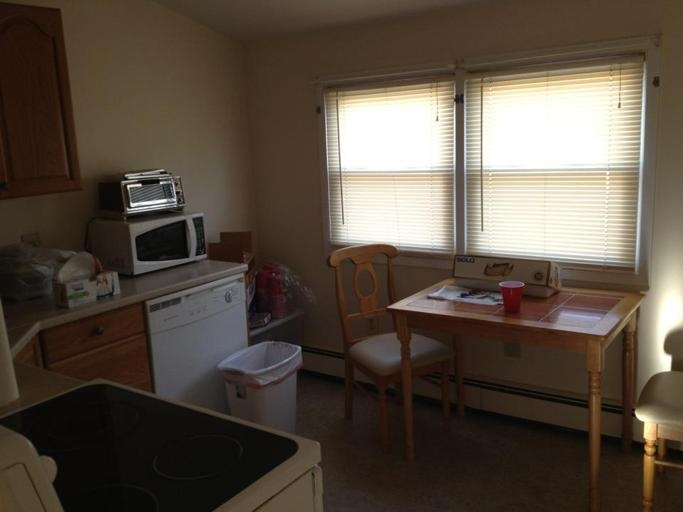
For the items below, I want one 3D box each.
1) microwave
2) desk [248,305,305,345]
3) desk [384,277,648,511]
[{"bbox_3d":[-1.180,-0.091,3.377,0.413,0.344,0.602,4,13,32],"label":"microwave"},{"bbox_3d":[-0.433,0.434,3.864,0.191,0.229,0.620,2,8,23],"label":"desk"},{"bbox_3d":[0.995,0.308,2.967,1.303,1.073,1.028,5,13,36],"label":"desk"}]
